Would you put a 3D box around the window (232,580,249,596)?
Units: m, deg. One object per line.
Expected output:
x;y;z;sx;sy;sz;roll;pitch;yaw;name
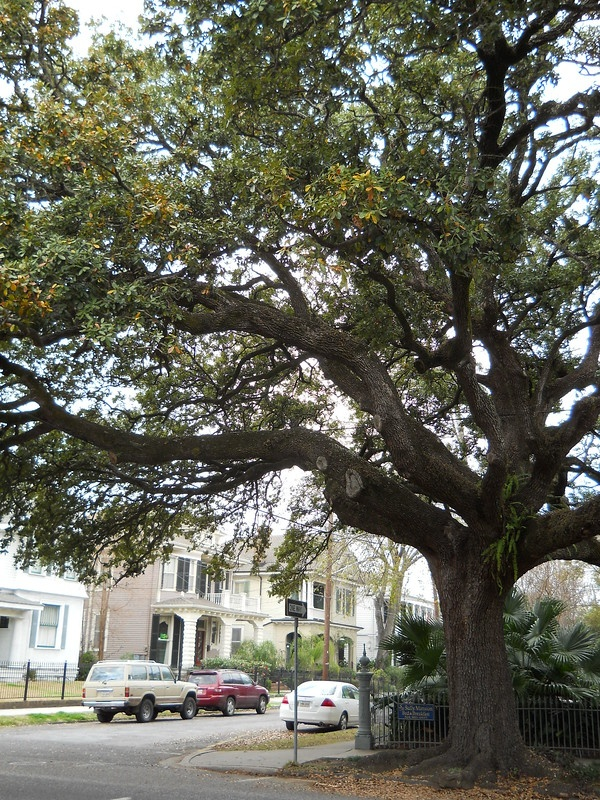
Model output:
-4.189;13.507;47.548;1.587;1.430;0.785;2;-19;-5;window

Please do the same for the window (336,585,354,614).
3.608;16.295;53.202;0.187;1.776;2.584;-14;-24;25;window

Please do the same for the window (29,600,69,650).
-11.937;10.691;30.889;0.412;2.715;2.821;-7;-16;25;window
